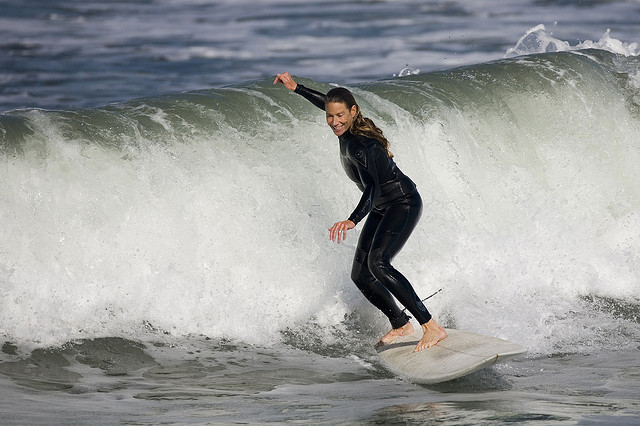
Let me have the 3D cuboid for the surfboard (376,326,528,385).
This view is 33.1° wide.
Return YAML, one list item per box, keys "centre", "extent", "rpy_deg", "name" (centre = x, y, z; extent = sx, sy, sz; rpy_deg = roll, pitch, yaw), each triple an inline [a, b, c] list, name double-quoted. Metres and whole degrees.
- centre: [1.594, 1.708, 13.493]
  extent: [1.427, 0.295, 2.528]
  rpy_deg: [-19, 10, -21]
  name: "surfboard"

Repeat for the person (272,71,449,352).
- centre: [0.800, 0.105, 13.370]
  extent: [1.349, 3.329, 0.919]
  rpy_deg: [-3, 18, 11]
  name: "person"
